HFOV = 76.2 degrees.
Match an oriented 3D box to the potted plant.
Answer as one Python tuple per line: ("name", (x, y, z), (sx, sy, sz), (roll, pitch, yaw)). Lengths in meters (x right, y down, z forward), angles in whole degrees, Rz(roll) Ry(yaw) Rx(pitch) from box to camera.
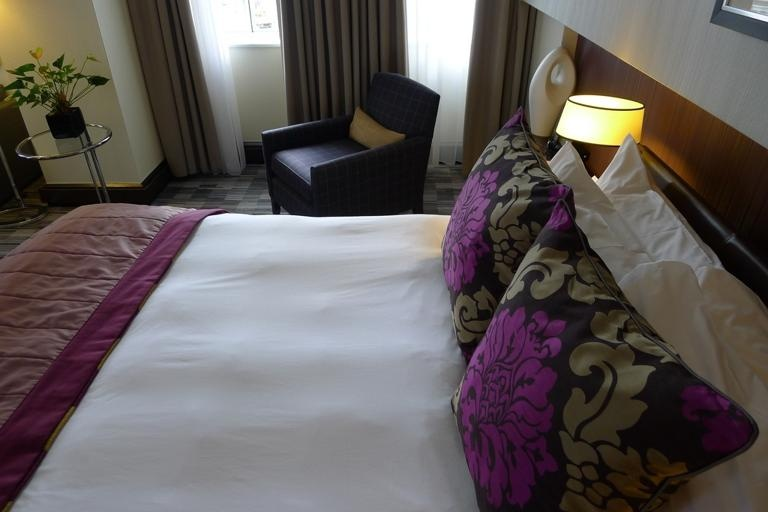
("potted plant", (-2.160, -1.158, 3.278), (0.607, 0.450, 0.623), (5, 44, -9))
